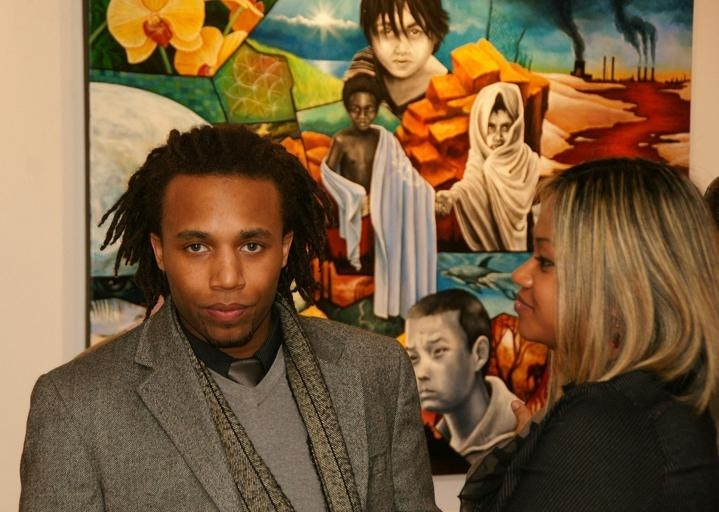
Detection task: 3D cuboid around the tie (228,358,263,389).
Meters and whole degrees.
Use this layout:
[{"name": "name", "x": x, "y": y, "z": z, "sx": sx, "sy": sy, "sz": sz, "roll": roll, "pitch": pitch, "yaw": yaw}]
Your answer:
[{"name": "tie", "x": -0.374, "y": 0.374, "z": 2.835, "sx": 0.095, "sy": 0.091, "sz": 0.028, "roll": 26, "pitch": -9, "yaw": -20}]
